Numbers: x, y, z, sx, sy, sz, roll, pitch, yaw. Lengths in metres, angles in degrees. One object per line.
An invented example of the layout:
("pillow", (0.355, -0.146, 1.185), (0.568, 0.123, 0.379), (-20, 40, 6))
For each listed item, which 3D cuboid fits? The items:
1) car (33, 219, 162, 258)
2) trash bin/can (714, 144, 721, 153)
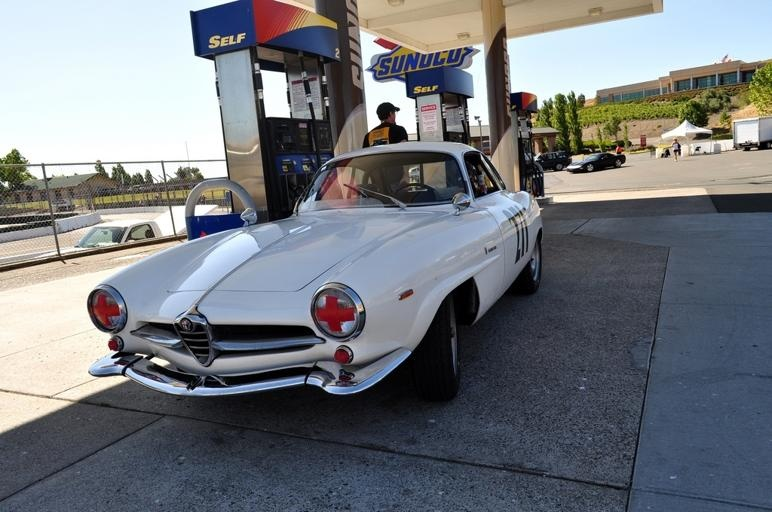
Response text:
("car", (-7.090, -0.555, 11.666), (1.088, 0.893, 1.747), (7, 7, 22))
("trash bin/can", (29.705, -9.713, 39.854), (0.441, 0.754, 1.194), (6, 17, 35))
